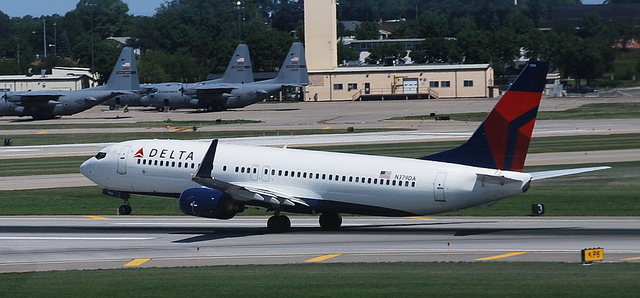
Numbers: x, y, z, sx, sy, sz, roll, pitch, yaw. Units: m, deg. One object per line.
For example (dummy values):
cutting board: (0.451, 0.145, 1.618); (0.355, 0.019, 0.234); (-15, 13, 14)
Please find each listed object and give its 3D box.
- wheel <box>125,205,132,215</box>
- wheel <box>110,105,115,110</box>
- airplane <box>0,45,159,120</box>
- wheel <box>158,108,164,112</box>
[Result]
wheel: (-42.751, 14.038, 228.555); (1.038, 1.910, 2.224); (1, 5, 13)
wheel: (-65.448, -12.941, 321.041); (2.179, 1.377, 0.629); (-2, -15, -7)
airplane: (-73.448, -16.584, 299.156); (39.332, 11.457, 29.021); (1, 6, 7)
wheel: (-48.619, -11.876, 311.075); (1.557, 0.961, 1.005); (-1, 5, -2)
